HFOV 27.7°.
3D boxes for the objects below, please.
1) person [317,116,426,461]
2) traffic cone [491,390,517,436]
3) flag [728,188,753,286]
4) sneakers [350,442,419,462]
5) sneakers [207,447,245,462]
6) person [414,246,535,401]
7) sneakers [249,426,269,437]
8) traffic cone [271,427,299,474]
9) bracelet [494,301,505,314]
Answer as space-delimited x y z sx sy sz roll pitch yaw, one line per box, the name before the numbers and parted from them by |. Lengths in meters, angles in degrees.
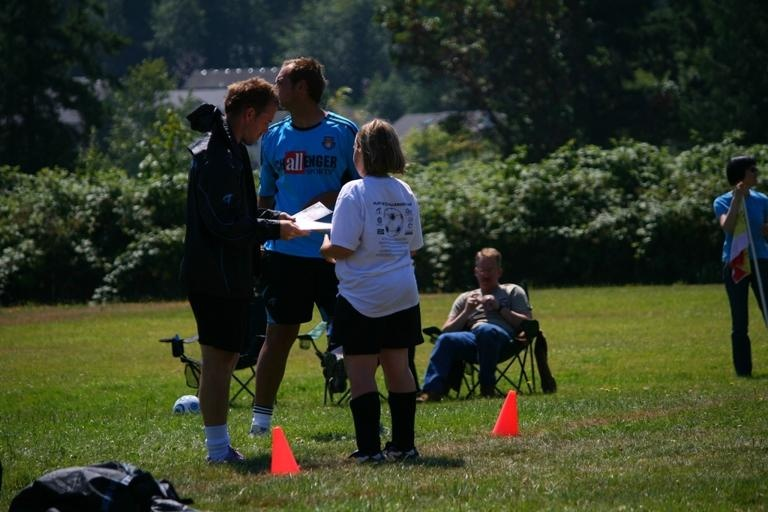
person | -0.080 0.321 15.411 0.934 3.341 0.378 -2 0 0
traffic cone | 1.261 1.619 16.278 0.287 0.470 0.347 -2 0 11
flag | 4.011 -0.176 17.500 0.246 0.918 0.136 -2 0 -13
sneakers | 0.009 1.975 15.459 0.651 0.237 0.231 5 -9 -8
sneakers | -1.554 1.935 15.455 0.400 0.179 0.144 -1 2 -5
person | 1.065 0.789 18.100 1.016 2.026 1.353 -11 -24 30
sneakers | -1.310 1.810 16.252 0.138 0.107 0.102 8 -6 20
traffic cone | -0.973 1.877 15.330 0.274 0.465 0.404 -2 0 -4
bracelet | 1.346 0.588 18.083 0.082 0.107 0.059 8 44 9
